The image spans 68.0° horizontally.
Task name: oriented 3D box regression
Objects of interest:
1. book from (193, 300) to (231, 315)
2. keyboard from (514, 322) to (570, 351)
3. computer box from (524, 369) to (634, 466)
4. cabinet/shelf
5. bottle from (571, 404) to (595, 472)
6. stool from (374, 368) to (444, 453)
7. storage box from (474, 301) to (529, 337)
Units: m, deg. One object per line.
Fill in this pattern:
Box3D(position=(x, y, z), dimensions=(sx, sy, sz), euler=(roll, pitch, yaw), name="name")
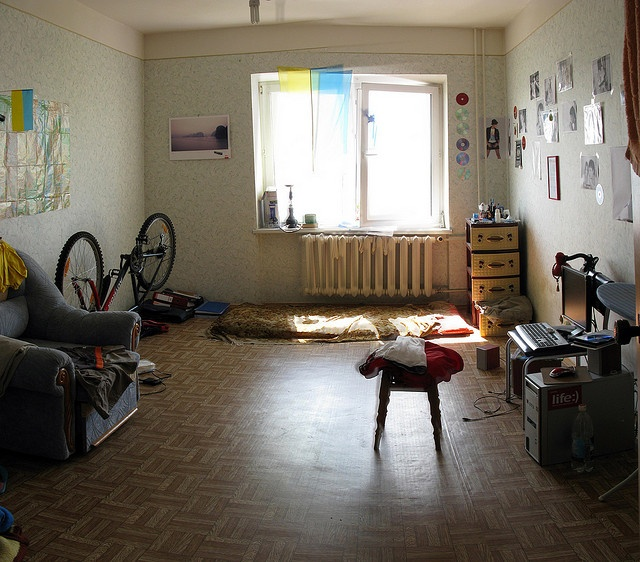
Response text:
Box3D(position=(-1.245, 0.315, 5.643), dimensions=(0.364, 0.094, 0.399), euler=(1, 11, 14), name="book")
Box3D(position=(1.444, 0.355, 3.108), dimensions=(0.248, 0.075, 0.456), euler=(0, 11, 8), name="keyboard")
Box3D(position=(1.383, 0.719, 2.519), dimensions=(0.454, 0.439, 0.249), euler=(-2, 2, -17), name="computer box")
Box3D(position=(1.831, -0.224, 4.968), dimensions=(0.539, 1.106, 0.506), euler=(7, 44, 29), name="cabinet/shelf")
Box3D(position=(1.348, 0.819, 2.434), dimensions=(0.100, 0.342, 0.066), euler=(4, 11, 25), name="bottle")
Box3D(position=(0.528, 0.787, 2.867), dimensions=(0.405, 0.445, 0.350), euler=(-3, -19, 22), name="stool")
Box3D(position=(1.806, 0.333, 4.614), dimensions=(0.416, 0.163, 0.389), euler=(-2, 11, 1), name="storage box")
